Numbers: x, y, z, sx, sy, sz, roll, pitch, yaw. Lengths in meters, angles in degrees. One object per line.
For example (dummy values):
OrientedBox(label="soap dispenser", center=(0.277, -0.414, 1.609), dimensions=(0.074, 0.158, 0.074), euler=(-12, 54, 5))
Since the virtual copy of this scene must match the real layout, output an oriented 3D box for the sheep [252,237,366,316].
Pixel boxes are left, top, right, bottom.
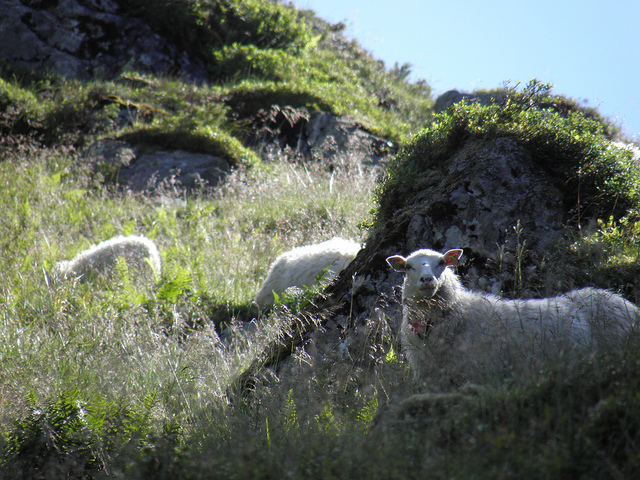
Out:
OrientedBox(label="sheep", center=(-0.272, 0.729, 23.820), dimensions=(2.092, 1.763, 0.821), euler=(5, -11, 28))
